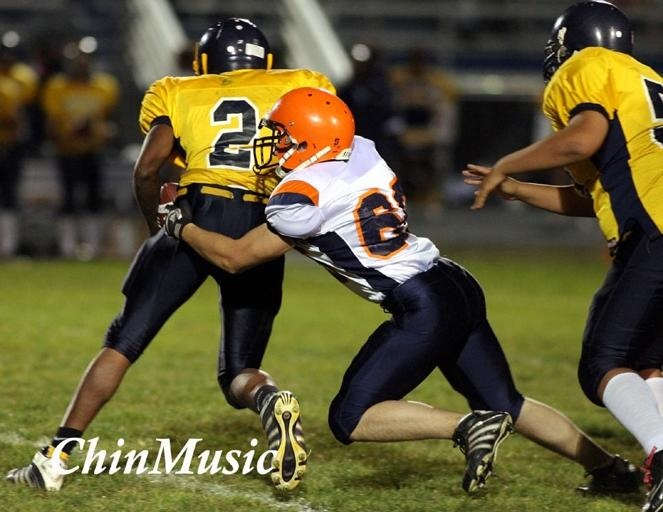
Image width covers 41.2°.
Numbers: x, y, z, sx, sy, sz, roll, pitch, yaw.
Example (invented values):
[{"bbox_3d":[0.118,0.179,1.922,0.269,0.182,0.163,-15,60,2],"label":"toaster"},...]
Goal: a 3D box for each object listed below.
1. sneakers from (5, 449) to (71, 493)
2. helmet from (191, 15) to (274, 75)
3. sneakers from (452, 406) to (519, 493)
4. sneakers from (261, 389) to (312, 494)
[{"bbox_3d":[-1.164,0.813,3.415,0.255,0.167,0.074,4,12,13],"label":"sneakers"},{"bbox_3d":[-0.455,-0.884,3.789,0.336,0.281,0.258,1,60,-14],"label":"helmet"},{"bbox_3d":[0.577,0.724,3.287,0.229,0.280,0.155,3,12,-1],"label":"sneakers"},{"bbox_3d":[-0.183,0.718,3.404,0.191,0.422,0.224,3,12,-4],"label":"sneakers"}]
